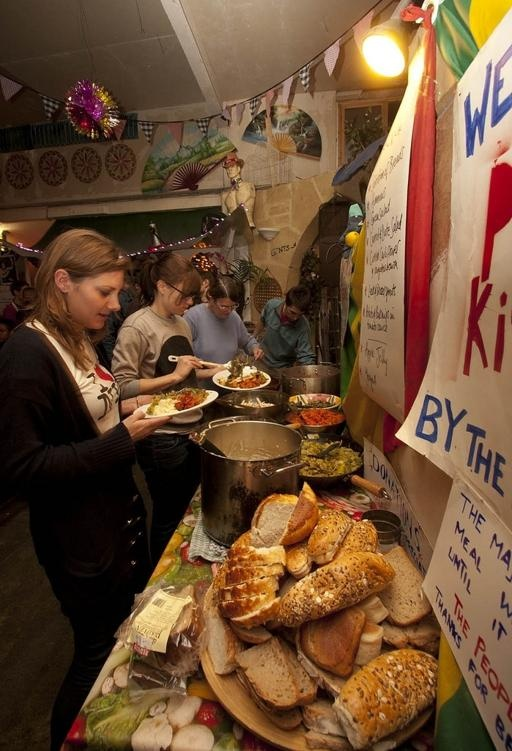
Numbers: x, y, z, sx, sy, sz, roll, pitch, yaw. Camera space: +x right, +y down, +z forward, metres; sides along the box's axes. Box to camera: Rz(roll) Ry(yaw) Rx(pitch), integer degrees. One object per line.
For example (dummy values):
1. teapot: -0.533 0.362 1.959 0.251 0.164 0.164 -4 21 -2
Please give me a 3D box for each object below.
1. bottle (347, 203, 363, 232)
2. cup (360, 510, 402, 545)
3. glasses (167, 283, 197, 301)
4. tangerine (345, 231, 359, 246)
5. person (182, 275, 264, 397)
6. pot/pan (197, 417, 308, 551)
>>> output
1. bottle: 0.461 -0.764 2.356 0.061 0.076 0.186 0 48 10
2. cup: 0.304 0.361 1.196 0.091 0.061 0.096 0 0 0
3. glasses: -0.363 -0.434 2.436 0.091 0.031 0.090 39 23 28
4. tangerine: 0.414 -0.597 2.164 0.043 0.068 0.155 1 11 6
5. person: -0.247 -0.254 3.388 0.583 0.821 0.415 -8 27 -30
6. pot/pan: -0.023 0.254 1.360 0.296 0.308 0.323 -3 12 -23
